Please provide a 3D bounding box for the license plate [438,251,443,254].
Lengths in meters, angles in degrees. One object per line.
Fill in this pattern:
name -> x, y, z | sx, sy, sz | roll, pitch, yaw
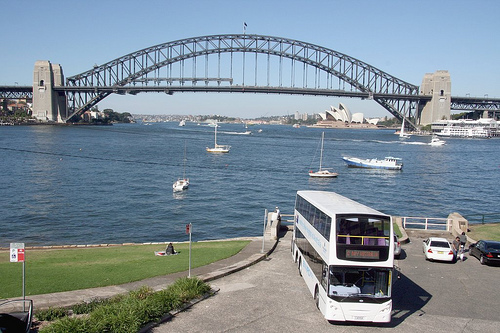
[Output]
license plate -> 12.161, 5.513, 33.120 | 0.189, 0.128, 0.046 | 2, -4, 15

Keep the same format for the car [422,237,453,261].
car -> 12.166, 5.422, 33.509 | 1.714, 1.354, 1.101 | 3, 5, 20

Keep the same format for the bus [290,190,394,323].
bus -> 4.634, 4.699, 27.424 | 3.055, 5.421, 5.772 | 0, 5, -18

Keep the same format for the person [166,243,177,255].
person -> -5.377, 5.572, 34.699 | 0.560, 0.854, 0.594 | 2, -7, -11
